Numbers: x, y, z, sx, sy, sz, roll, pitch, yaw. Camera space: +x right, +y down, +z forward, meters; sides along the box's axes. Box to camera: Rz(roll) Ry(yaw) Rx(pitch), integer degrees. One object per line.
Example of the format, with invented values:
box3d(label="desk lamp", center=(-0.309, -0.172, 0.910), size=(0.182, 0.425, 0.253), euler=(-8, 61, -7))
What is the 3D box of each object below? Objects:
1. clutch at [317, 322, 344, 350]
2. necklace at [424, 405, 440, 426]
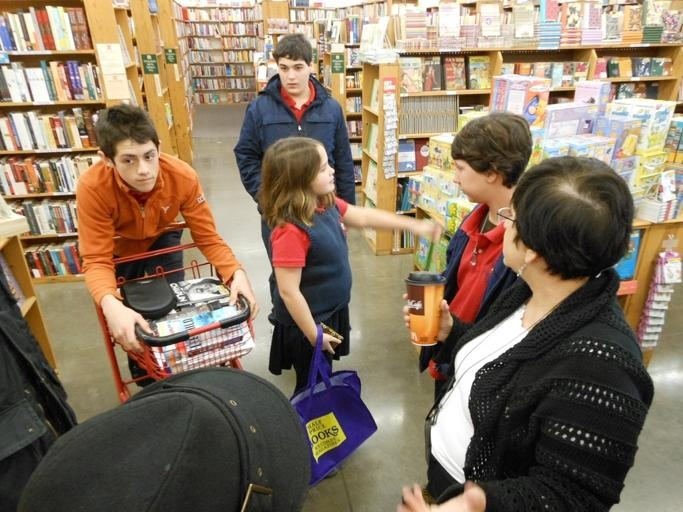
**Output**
box3d(label="clutch", center=(-0.073, 0.419, 2.336), size=(0.050, 0.124, 0.161), euler=(-39, 41, 3))
box3d(label="necklace", center=(0.346, 0.607, 1.688), size=(0.018, 0.076, 0.041), euler=(23, 21, -15))
